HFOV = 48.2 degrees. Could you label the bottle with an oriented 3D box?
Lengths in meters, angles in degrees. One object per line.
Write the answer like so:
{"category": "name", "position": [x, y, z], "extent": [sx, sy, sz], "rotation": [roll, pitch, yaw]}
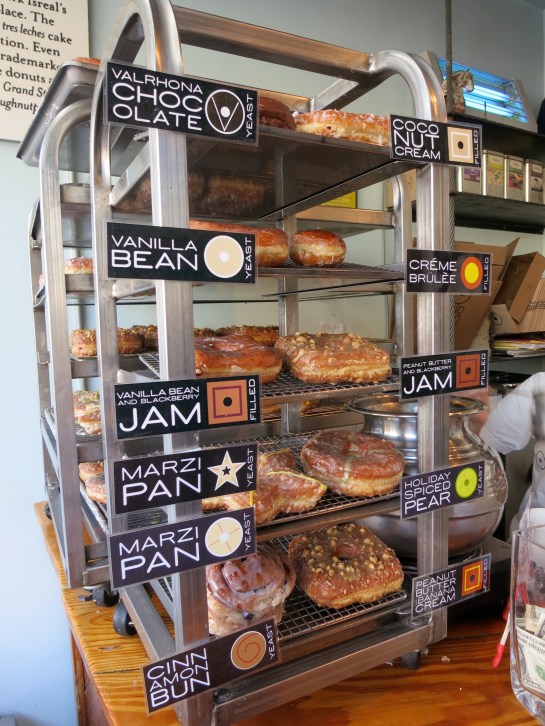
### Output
{"category": "bottle", "position": [0.297, 0.245, 1.328], "extent": [0.400, 0.306, 0.382], "rotation": [0, 4, 0]}
